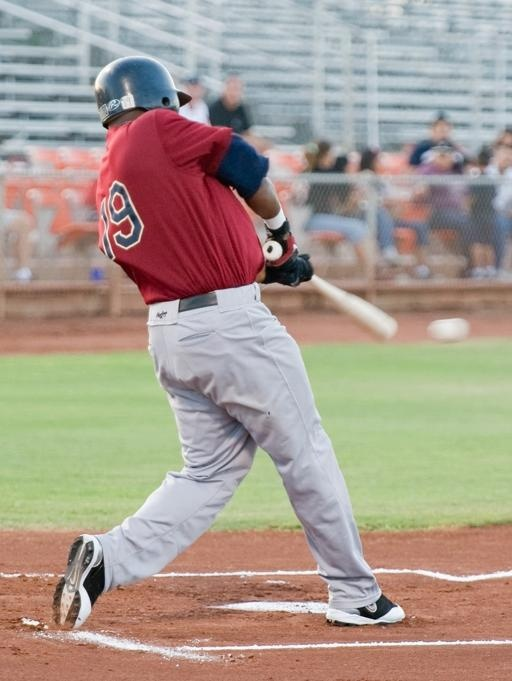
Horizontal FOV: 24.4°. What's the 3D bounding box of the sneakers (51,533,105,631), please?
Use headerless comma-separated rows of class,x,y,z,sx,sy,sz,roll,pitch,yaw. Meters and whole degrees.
sneakers,-0.533,0.743,3.571,0.149,0.311,0.185,-3,10,-13

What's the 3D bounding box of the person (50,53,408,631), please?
person,-0.140,0.015,3.674,1.037,1.789,0.546,-2,10,-8

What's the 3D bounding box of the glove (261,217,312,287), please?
glove,0.085,-0.268,3.883,0.128,0.148,0.220,5,7,-8

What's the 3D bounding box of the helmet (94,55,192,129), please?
helmet,-0.368,-0.774,3.739,0.300,0.163,0.204,1,-16,-39

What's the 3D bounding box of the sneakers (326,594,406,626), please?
sneakers,0.353,0.854,3.780,0.284,0.093,0.084,-1,0,-14
